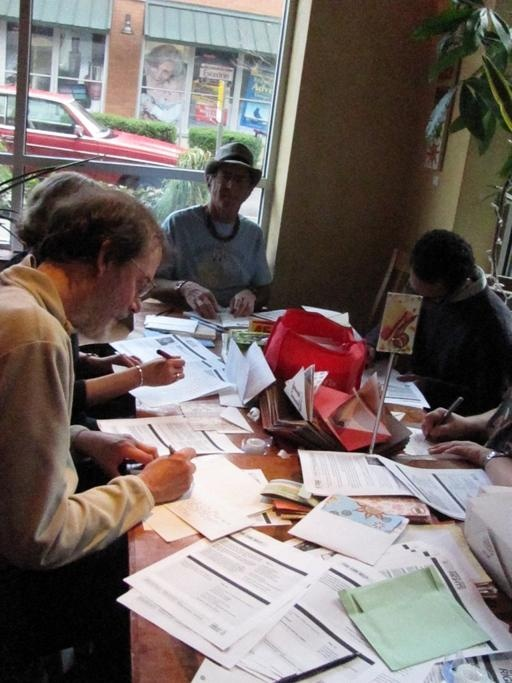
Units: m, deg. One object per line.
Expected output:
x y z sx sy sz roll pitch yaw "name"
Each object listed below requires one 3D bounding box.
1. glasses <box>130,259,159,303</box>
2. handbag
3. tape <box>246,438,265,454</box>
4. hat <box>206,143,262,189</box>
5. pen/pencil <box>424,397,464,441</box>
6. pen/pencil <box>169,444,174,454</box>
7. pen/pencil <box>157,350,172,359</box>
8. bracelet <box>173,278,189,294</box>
-0.240 -0.122 1.082 0.023 0.065 0.065 7 0 13 "glasses"
0.133 0.038 1.533 0.223 0.172 0.166 11 0 26 "handbag"
-0.003 0.248 1.259 0.035 0.018 0.033 1 12 -23 "tape"
-0.122 -0.962 2.826 0.319 0.127 0.358 5 0 4 "hat"
0.563 0.234 1.586 0.018 0.163 0.018 44 3 33 "pen/pencil"
-0.184 0.232 1.138 0.011 0.013 0.034 -1 -17 -8 "pen/pencil"
-0.282 0.037 1.616 0.023 0.017 0.080 3 -13 14 "pen/pencil"
-0.361 -0.261 2.539 0.078 0.066 0.048 -9 39 -31 "bracelet"
